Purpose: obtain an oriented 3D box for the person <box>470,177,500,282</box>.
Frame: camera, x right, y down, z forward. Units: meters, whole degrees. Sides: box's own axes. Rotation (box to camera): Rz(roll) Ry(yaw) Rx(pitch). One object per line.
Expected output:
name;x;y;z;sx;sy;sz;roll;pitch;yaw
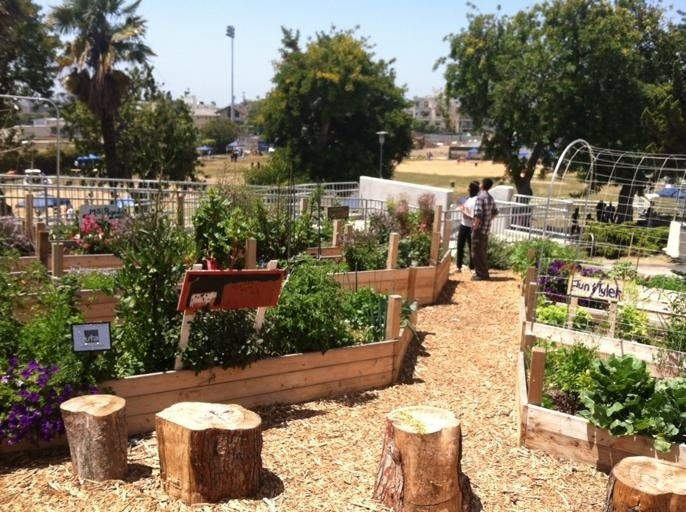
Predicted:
person;2.556;-0.503;11.272;0.368;1.899;0.541;6;9;31
